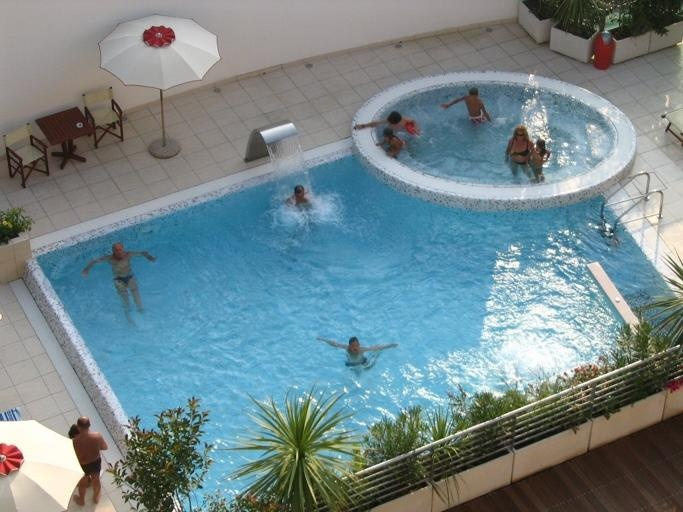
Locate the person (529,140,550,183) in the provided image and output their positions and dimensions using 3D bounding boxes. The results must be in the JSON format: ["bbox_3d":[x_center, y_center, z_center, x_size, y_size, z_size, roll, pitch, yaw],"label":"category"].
[{"bbox_3d":[3.942,-1.983,12.071,0.372,0.656,0.855,1,37,20],"label":"person"}]

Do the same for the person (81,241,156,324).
[{"bbox_3d":[-3.903,0.420,10.887,1.187,1.576,0.469,-10,36,-15],"label":"person"}]

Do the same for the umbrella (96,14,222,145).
[{"bbox_3d":[-3.748,-3.762,12.738,2.085,2.172,2.069,-30,67,-26],"label":"umbrella"}]

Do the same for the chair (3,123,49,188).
[{"bbox_3d":[-6.390,-2.038,12.163,0.829,1.055,1.133,-29,37,-22],"label":"chair"}]

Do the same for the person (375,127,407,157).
[{"bbox_3d":[1.057,-2.327,12.720,0.582,0.718,0.620,4,82,15],"label":"person"}]

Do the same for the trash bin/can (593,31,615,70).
[{"bbox_3d":[6.089,-4.734,14.086,0.382,0.771,0.436,5,49,12],"label":"trash bin/can"}]

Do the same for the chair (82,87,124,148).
[{"bbox_3d":[-5.096,-2.895,12.860,0.686,1.120,0.816,-16,68,-17],"label":"chair"}]

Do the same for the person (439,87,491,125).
[{"bbox_3d":[2.728,-3.324,13.242,0.985,0.832,0.794,-6,34,11],"label":"person"}]

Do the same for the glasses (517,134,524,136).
[{"bbox_3d":[3.481,-2.350,11.828,0.087,0.040,0.021,3,36,23],"label":"glasses"}]

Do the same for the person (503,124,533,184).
[{"bbox_3d":[3.604,-1.946,12.252,0.583,1.403,0.379,9,44,25],"label":"person"}]
